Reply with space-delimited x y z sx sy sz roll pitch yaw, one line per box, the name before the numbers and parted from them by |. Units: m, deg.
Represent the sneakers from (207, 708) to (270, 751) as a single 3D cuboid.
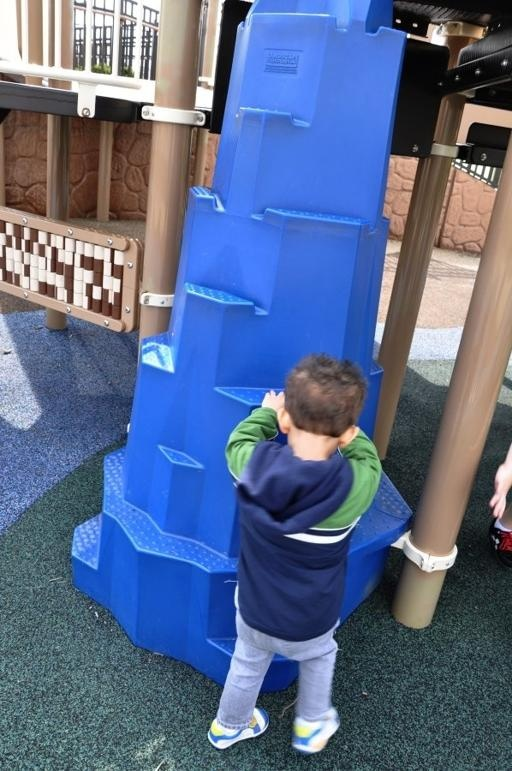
sneakers | -0.037 0.602 1.011 0.114 0.052 0.051 -20 33 -37
